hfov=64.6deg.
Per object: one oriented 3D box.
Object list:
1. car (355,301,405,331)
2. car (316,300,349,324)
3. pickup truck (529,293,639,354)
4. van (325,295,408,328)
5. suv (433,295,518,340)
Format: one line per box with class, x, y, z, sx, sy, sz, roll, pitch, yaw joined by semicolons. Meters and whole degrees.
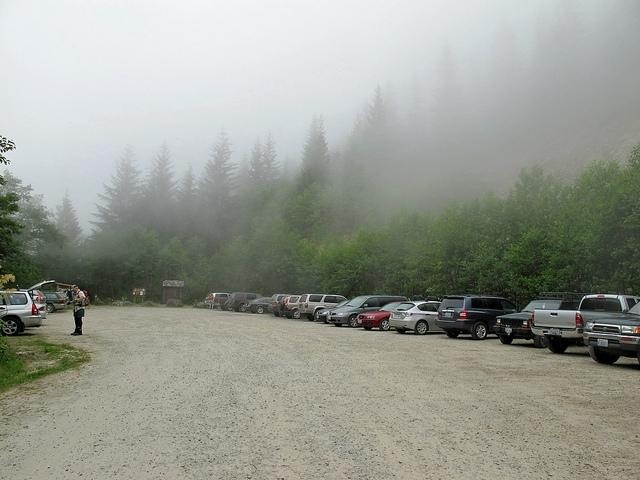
car;3.478;4.376;29.397;2.835;1.026;1.235;5;-9;-29
car;0.872;5.035;35.815;2.717;1.092;1.281;5;-9;-32
pickup truck;10.030;3.138;18.362;4.284;1.657;2.143;-1;-2;-29
van;3.025;4.668;33.208;4.451;1.753;2.244;4;-9;-27
suv;7.632;3.609;24.529;3.296;1.495;1.868;-1;-1;-28
